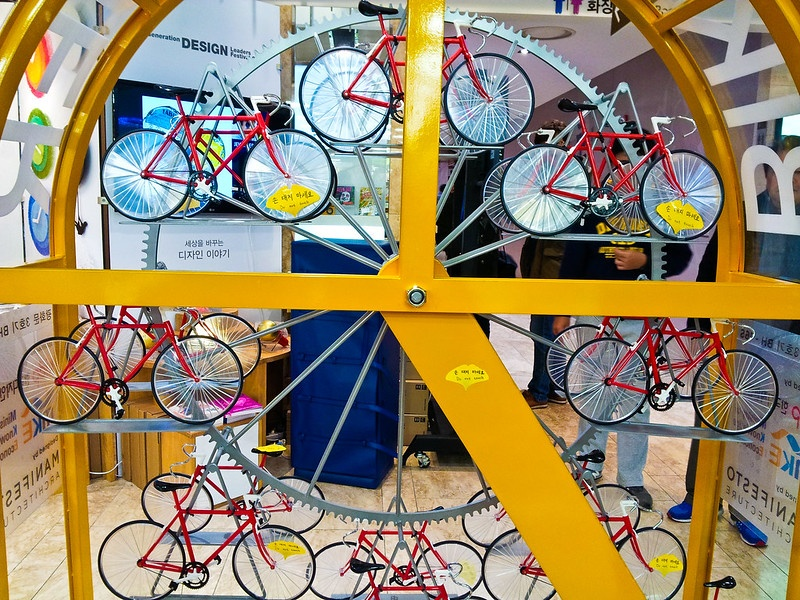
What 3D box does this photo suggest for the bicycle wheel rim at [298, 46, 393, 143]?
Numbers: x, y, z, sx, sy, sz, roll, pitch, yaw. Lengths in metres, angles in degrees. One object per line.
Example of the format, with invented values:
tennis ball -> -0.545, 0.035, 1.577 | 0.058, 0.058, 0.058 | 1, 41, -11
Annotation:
bicycle wheel rim -> -0.280, -1.047, 3.604 | 0.467, 0.144, 0.480 | -14, 81, -3

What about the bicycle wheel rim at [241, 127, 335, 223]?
bicycle wheel rim -> -0.563, -0.628, 3.524 | 0.484, 0.055, 0.545 | 1, 92, 5

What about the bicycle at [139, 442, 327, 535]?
bicycle -> -0.975, 1.128, 4.123 | 0.995, 0.482, 0.665 | 4, 107, -10

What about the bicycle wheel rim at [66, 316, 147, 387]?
bicycle wheel rim -> -1.627, 0.301, 3.929 | 0.390, 0.062, 0.416 | 30, 116, -27

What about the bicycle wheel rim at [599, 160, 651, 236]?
bicycle wheel rim -> 1.321, -0.568, 3.959 | 0.362, 0.052, 0.400 | -8, 102, -23

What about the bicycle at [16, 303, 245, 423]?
bicycle -> -1.400, 0.340, 3.634 | 1.108, 0.280, 0.699 | 2, 101, -7

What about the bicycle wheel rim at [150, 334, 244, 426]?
bicycle wheel rim -> -1.064, 0.403, 3.657 | 0.493, 0.045, 0.550 | 10, 80, 1

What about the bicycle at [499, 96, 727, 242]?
bicycle -> 1.084, -0.707, 4.036 | 1.354, 0.604, 0.920 | 0, 90, -3

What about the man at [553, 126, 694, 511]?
man -> 1.561, 0.184, 4.774 | 0.574, 0.747, 2.329 | 23, 57, -36

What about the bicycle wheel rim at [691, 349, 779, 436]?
bicycle wheel rim -> 1.771, 0.489, 3.677 | 0.318, 0.038, 0.322 | 41, 104, 11

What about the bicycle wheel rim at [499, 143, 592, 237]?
bicycle wheel rim -> 0.764, -0.572, 3.643 | 0.573, 0.061, 0.643 | 1, 94, -4

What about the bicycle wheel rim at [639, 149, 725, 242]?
bicycle wheel rim -> 1.485, -0.541, 3.673 | 0.445, 0.051, 0.503 | -1, 89, 0

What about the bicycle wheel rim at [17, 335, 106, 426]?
bicycle wheel rim -> -1.758, 0.408, 3.649 | 0.363, 0.039, 0.393 | -22, 93, -13

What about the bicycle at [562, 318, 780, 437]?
bicycle -> 1.472, 0.353, 3.775 | 1.052, 0.452, 0.727 | 4, 71, 18
